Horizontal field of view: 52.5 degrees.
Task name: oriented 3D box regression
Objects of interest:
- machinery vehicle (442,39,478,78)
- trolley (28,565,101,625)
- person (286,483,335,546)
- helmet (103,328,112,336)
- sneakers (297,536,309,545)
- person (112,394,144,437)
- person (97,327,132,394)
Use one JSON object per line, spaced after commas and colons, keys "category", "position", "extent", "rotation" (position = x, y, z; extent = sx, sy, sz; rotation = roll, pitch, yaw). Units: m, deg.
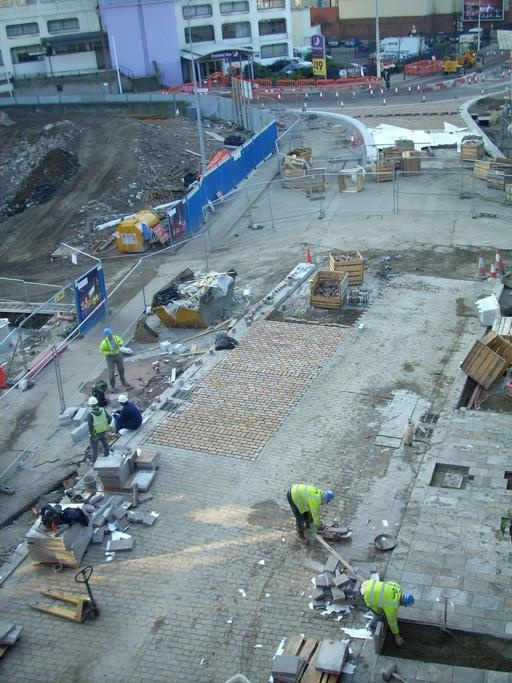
{"category": "machinery vehicle", "position": [23.008, -31.943, 58.293], "extent": [3.525, 4.694, 15.555], "rotation": [0, 22, 22]}
{"category": "trolley", "position": [-2.653, 3.478, 7.344], "extent": [0.857, 0.550, 0.489], "rotation": [16, 5, 4]}
{"category": "person", "position": [0.886, 2.621, 8.107], "extent": [0.671, 1.065, 0.479], "rotation": [-4, 23, 13]}
{"category": "helmet", "position": [-4.088, -0.268, 14.263], "extent": [0.199, 0.202, 0.269], "rotation": [-20, 23, -20]}
{"category": "sneakers", "position": [0.747, 3.141, 8.238], "extent": [0.183, 0.075, 0.081], "rotation": [31, 50, 34]}
{"category": "person", "position": [-2.935, 1.703, 11.773], "extent": [0.614, 0.835, 0.380], "rotation": [18, 52, 16]}
{"category": "person", "position": [-3.859, 0.307, 13.939], "extent": [0.616, 1.671, 1.381], "rotation": [-16, 22, -14]}
